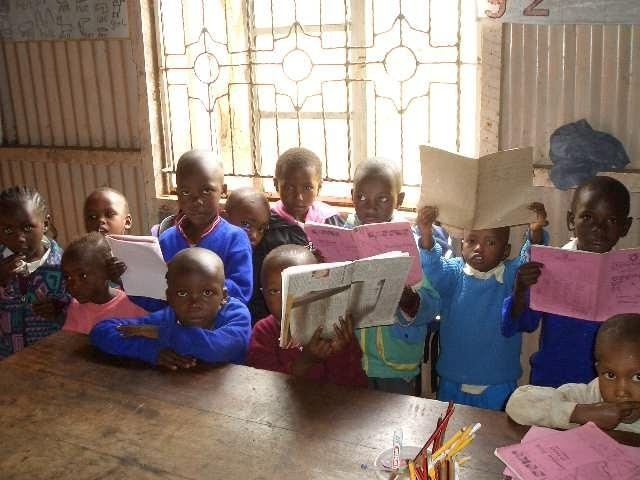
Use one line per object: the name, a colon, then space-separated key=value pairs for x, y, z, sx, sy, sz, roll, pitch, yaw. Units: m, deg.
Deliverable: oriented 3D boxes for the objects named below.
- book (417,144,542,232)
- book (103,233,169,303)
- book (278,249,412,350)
book: x=0.607 y=-0.192 z=2.325 sx=0.494 sy=0.345 sz=0.048 roll=4 pitch=31 yaw=21
book: x=-0.707 y=0.113 z=2.322 sx=0.270 sy=0.316 sz=0.045 roll=8 pitch=30 yaw=21
book: x=0.071 y=0.177 z=1.970 sx=0.435 sy=0.287 sz=0.098 roll=-5 pitch=38 yaw=-15
